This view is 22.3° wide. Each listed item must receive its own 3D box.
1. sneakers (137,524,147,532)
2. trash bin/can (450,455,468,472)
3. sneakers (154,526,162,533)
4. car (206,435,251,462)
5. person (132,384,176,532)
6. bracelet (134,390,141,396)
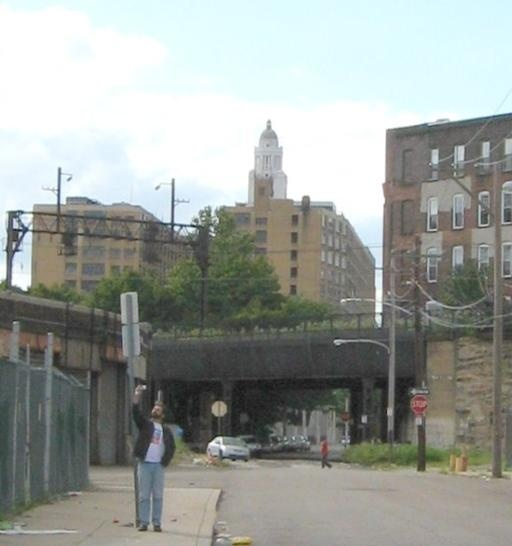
[{"bbox_3d":[-1.947,4.345,22.028,0.169,0.096,0.067,0,-13,25],"label":"sneakers"},{"bbox_3d":[6.611,6.286,42.596,0.505,0.866,0.528,0,-3,15],"label":"trash bin/can"},{"bbox_3d":[-1.693,4.370,22.081,0.148,0.105,0.276,0,-9,-4],"label":"sneakers"},{"bbox_3d":[-1.235,7.682,56.548,1.765,1.151,3.140,0,-9,-2],"label":"car"},{"bbox_3d":[-1.773,3.205,22.131,0.699,2.434,0.583,2,-30,-2],"label":"person"},{"bbox_3d":[-2.029,2.064,22.143,0.102,0.098,0.274,0,-9,-5],"label":"bracelet"}]
